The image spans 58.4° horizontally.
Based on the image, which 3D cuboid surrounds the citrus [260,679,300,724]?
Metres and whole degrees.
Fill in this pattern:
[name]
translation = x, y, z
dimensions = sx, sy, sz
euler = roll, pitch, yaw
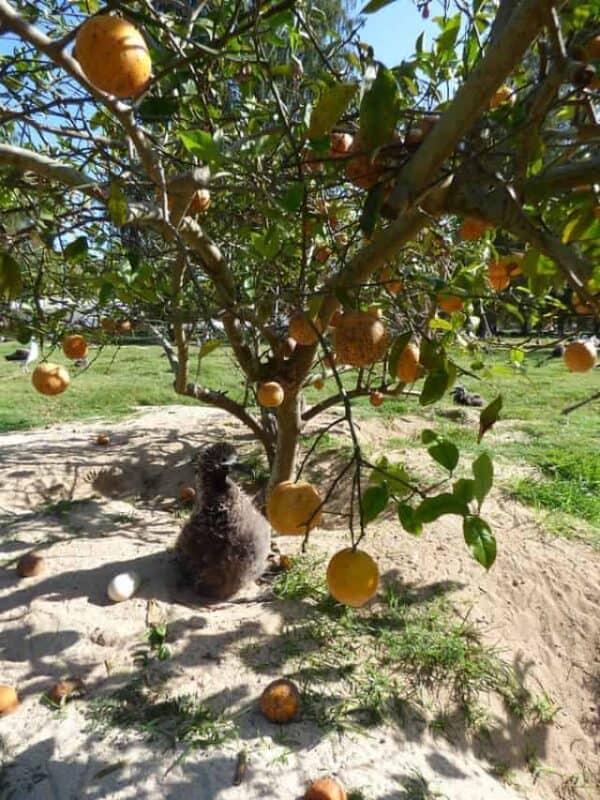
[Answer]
[citrus]
translation = -0.082, 1.178, 2.090
dimensions = 0.134, 0.111, 0.154
euler = 2, 5, -7
